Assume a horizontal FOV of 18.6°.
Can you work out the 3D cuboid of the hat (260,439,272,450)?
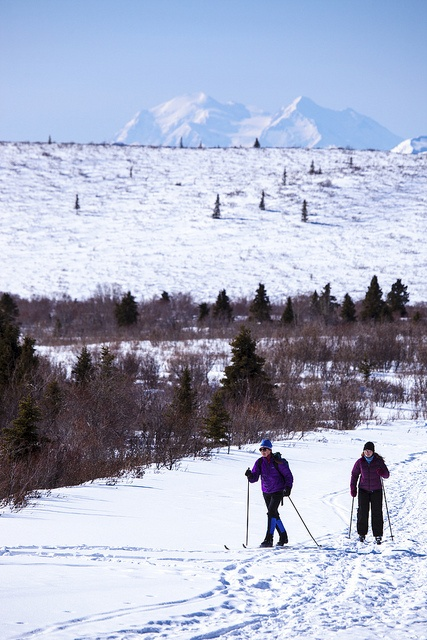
[{"bbox_3d":[1.142,2.656,28.065,0.147,0.214,0.260,2,-15,5],"label":"hat"}]

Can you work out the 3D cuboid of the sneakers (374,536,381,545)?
[{"bbox_3d":[3.610,4.803,28.571,0.102,0.142,0.121,1,-2,-18],"label":"sneakers"}]

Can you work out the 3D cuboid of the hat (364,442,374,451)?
[{"bbox_3d":[3.441,2.805,28.797,0.151,0.243,0.214,5,-1,27],"label":"hat"}]

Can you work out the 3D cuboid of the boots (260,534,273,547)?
[{"bbox_3d":[1.176,4.785,28.362,0.278,0.374,0.170,7,-9,-2],"label":"boots"}]

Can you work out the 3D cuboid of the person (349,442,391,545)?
[{"bbox_3d":[3.421,3.788,28.726,0.792,2.171,0.589,4,5,7],"label":"person"}]

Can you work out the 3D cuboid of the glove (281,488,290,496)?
[{"bbox_3d":[1.579,3.689,28.023,0.110,0.071,0.192,-2,-44,6],"label":"glove"}]

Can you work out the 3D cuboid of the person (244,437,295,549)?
[{"bbox_3d":[1.228,3.766,28.183,0.884,2.357,0.602,3,5,0],"label":"person"}]
